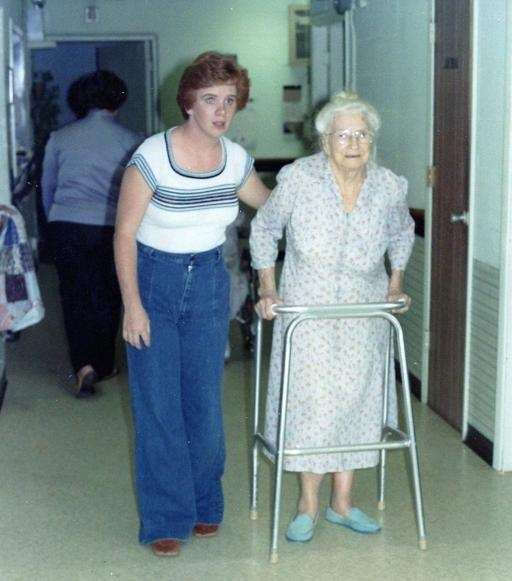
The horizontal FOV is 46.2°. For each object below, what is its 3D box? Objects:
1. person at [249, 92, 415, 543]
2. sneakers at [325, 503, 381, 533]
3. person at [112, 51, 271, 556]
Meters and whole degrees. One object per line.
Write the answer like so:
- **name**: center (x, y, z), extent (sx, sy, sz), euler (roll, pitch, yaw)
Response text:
- **person**: center (0.218, 0.099, 1.608), extent (0.462, 1.221, 0.374), euler (-1, 6, -3)
- **sneakers**: center (0.288, 0.673, 1.743), extent (0.140, 0.058, 0.058), euler (6, 7, 34)
- **person**: center (-0.164, 0.069, 1.597), extent (0.355, 1.287, 0.361), euler (-1, 6, 0)
